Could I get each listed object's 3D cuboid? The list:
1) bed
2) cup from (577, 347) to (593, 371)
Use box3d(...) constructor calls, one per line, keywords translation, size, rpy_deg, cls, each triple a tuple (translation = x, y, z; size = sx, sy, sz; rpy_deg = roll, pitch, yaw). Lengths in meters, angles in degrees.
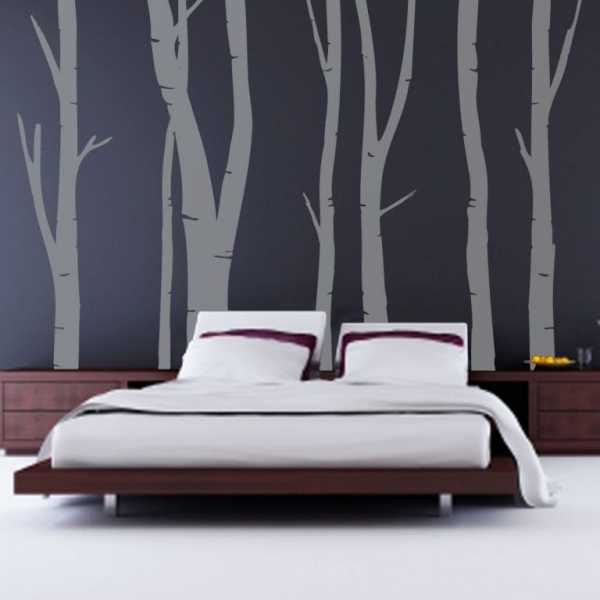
box3d(translation=(-0.072, 0.518, 4.072), size=(2.141, 0.827, 1.991), rpy_deg=(0, 2, 2), cls="bed")
box3d(translation=(1.860, 0.380, 5.115), size=(0.084, 0.135, 0.216), rpy_deg=(1, 2, 17), cls="cup")
